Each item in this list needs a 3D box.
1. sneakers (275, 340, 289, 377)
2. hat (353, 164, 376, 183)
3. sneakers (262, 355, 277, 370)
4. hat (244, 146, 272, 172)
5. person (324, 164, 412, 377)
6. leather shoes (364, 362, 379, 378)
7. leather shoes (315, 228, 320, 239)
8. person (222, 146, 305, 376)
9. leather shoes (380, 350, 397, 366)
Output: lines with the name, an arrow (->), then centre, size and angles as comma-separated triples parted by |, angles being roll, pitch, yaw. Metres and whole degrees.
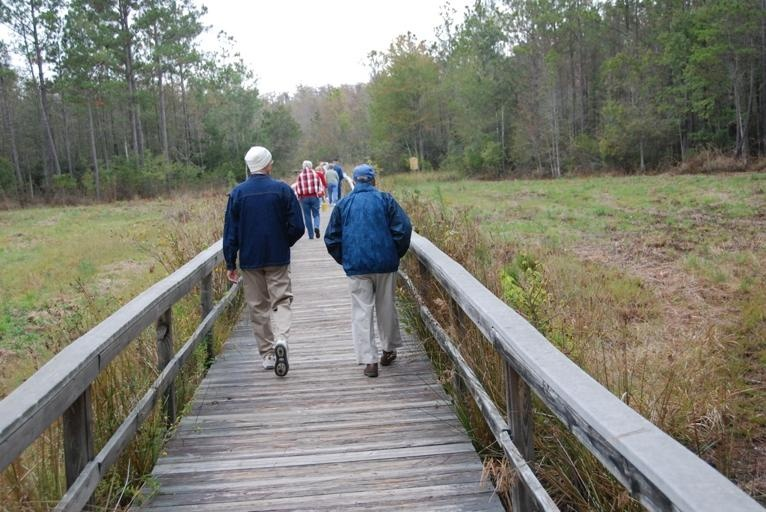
sneakers -> -0.984, 0.991, 5.476 | 0.111, 0.352, 0.137 | 0, 0, -1
hat -> -0.200, -0.811, 5.686 | 0.159, 0.138, 0.247 | -1, 18, -2
sneakers -> -1.155, 1.069, 5.708 | 0.081, 0.102, 0.220 | 1, 6, -13
hat -> -1.276, -0.980, 5.858 | 0.251, 0.250, 0.288 | 6, 24, 11
person -> -0.135, 0.128, 5.522 | 0.810, 1.984, 0.528 | -4, 9, -6
leather shoes -> -0.121, 1.091, 5.439 | 0.071, 0.141, 0.186 | 0, 11, -8
leather shoes -> -1.539, -0.521, 13.116 | 0.089, 0.273, 0.111 | -2, 42, -4
person -> -1.219, 0.021, 5.756 | 0.815, 2.224, 0.599 | 2, 11, 32
leather shoes -> 0.044, 1.015, 5.651 | 0.180, 0.202, 0.095 | 6, 2, -8
